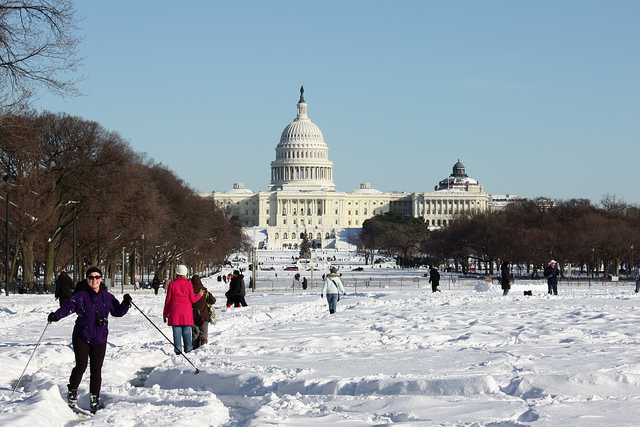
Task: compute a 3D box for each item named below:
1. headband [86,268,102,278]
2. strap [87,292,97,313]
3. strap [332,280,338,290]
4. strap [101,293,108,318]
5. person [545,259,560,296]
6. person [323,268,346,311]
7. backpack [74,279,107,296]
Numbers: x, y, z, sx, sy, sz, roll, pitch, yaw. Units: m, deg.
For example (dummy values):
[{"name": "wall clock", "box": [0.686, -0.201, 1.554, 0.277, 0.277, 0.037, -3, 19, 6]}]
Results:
[{"name": "headband", "box": [-5.061, 1.313, 23.810, 0.328, 0.215, 0.408, 1, -1, -14]}, {"name": "strap", "box": [-5.074, 1.982, 23.674, 0.054, 0.487, 0.039, -26, -13, -13]}, {"name": "strap", "box": [0.535, 2.399, 36.539, 0.042, 0.292, 0.033, -28, -16, -20]}, {"name": "strap", "box": [-4.843, 2.052, 23.803, 0.084, 0.563, 0.097, -8, -5, -9]}, {"name": "person", "box": [10.806, 2.972, 49.412, 0.587, 1.522, 3.158, 0, -1, 12]}, {"name": "person", "box": [0.488, 2.598, 36.659, 0.702, 1.477, 1.163, 0, -1, 1]}, {"name": "backpack", "box": [-5.331, 1.671, 24.076, 0.497, 0.433, 0.131, 14, -2, -1]}]
